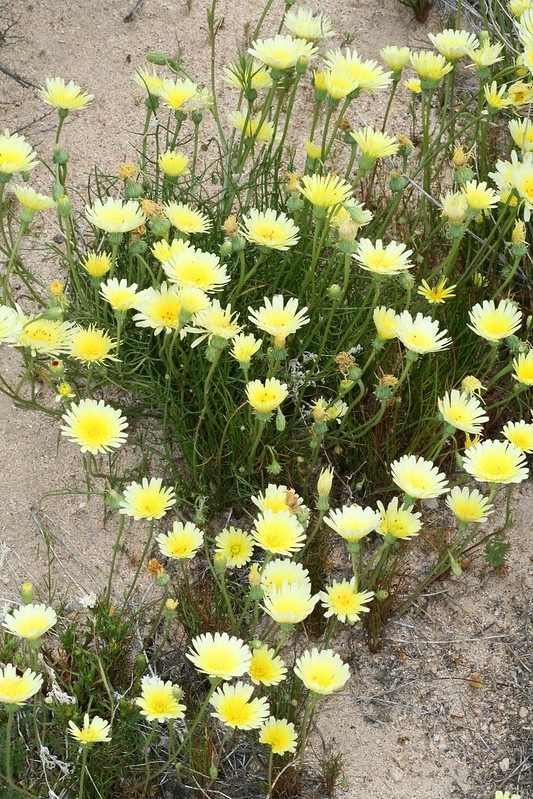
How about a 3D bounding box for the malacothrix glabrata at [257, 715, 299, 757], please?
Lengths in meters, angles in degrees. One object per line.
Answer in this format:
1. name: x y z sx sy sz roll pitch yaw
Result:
1. malacothrix glabrata: 0.028 0.763 1.773 0.079 0.074 0.075 -7 52 -15
